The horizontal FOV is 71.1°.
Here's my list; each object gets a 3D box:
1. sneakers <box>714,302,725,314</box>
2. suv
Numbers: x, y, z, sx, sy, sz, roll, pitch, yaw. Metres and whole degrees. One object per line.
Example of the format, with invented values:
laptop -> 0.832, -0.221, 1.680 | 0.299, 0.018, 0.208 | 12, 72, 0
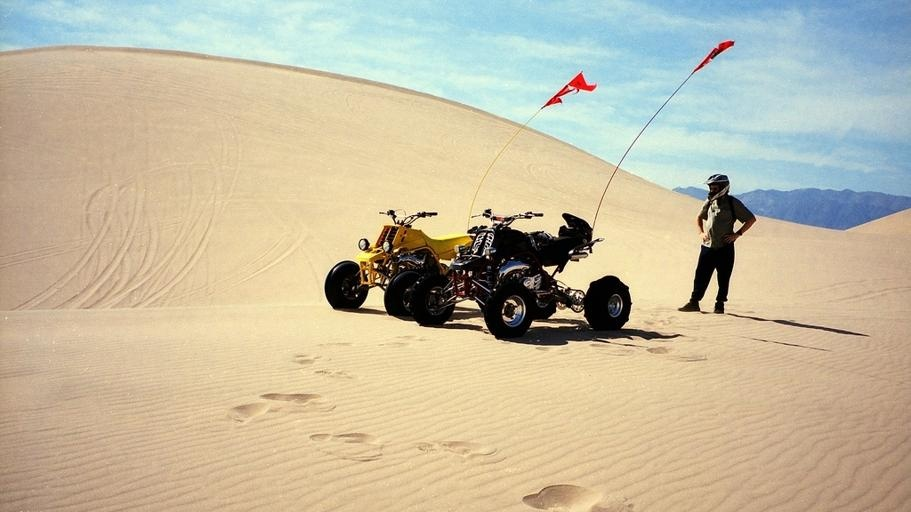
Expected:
sneakers -> 6.238, 1.254, 15.189 | 0.282, 0.265, 0.292 | 11, -10, 8
suv -> 0.907, 0.458, 14.433 | 4.801, 1.797, 3.524 | 4, -2, -25
